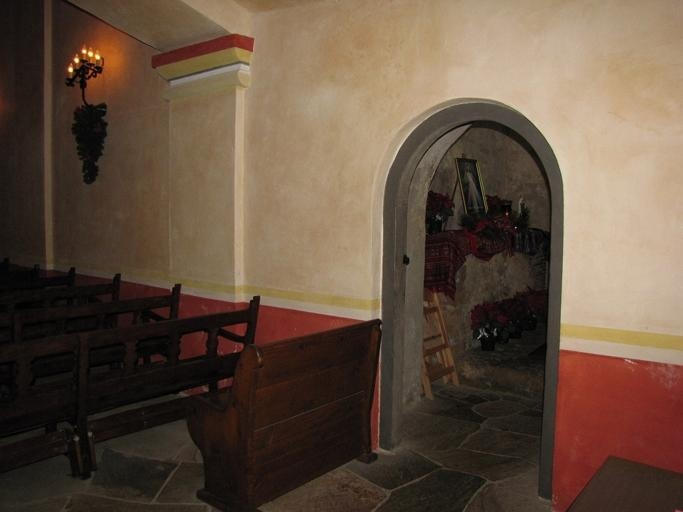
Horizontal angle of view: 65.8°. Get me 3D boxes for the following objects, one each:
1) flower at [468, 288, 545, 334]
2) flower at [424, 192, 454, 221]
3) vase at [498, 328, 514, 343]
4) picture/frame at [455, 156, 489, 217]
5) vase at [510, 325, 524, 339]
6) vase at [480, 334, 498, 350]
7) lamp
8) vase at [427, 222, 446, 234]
[{"bbox_3d":[2.483,0.813,7.572,1.043,0.344,0.671,-30,23,-38],"label":"flower"},{"bbox_3d":[1.177,-0.620,6.419,0.331,0.364,0.123,7,-8,-24],"label":"flower"},{"bbox_3d":[2.301,1.131,7.453,0.220,0.085,0.310,5,12,39],"label":"vase"},{"bbox_3d":[1.775,-0.937,7.292,0.082,1.038,0.909,-17,-7,31],"label":"picture/frame"},{"bbox_3d":[2.552,1.133,7.767,0.190,0.211,0.180,3,5,7],"label":"vase"},{"bbox_3d":[2.006,1.177,7.149,0.260,0.222,0.130,-2,9,-20],"label":"vase"},{"bbox_3d":[-3.318,-1.837,6.888,0.436,1.819,1.068,-4,10,-29],"label":"lamp"},{"bbox_3d":[1.151,-0.346,6.491,0.088,0.134,0.336,8,11,37],"label":"vase"}]
